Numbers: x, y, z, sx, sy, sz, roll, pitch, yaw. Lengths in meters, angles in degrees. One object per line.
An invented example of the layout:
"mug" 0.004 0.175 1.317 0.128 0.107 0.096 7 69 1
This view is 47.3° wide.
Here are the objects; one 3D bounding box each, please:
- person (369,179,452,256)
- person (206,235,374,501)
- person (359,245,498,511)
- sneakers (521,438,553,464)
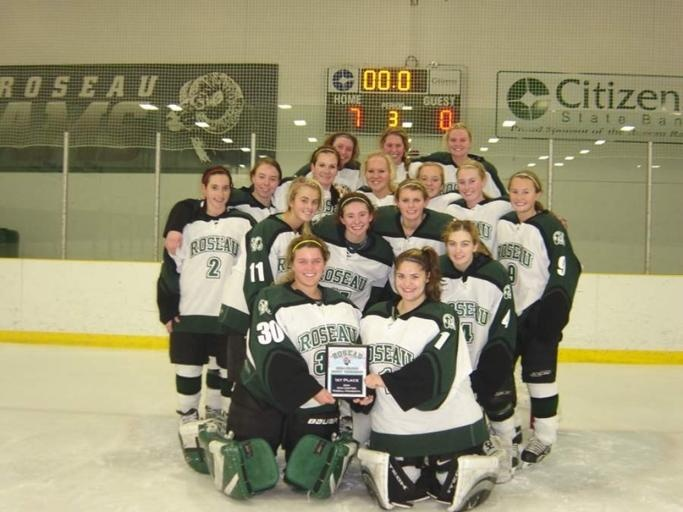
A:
"person" 0.591 -0.325 6.923 0.768 0.632 0.214 -1 36 9
"person" -0.449 0.877 6.257 1.247 2.015 0.713 0 9 -6
"person" 0.651 0.960 6.150 1.109 1.979 0.652 2 9 5
"sneakers" 1.700 1.683 6.779 0.369 0.210 0.149 -8 12 -43
